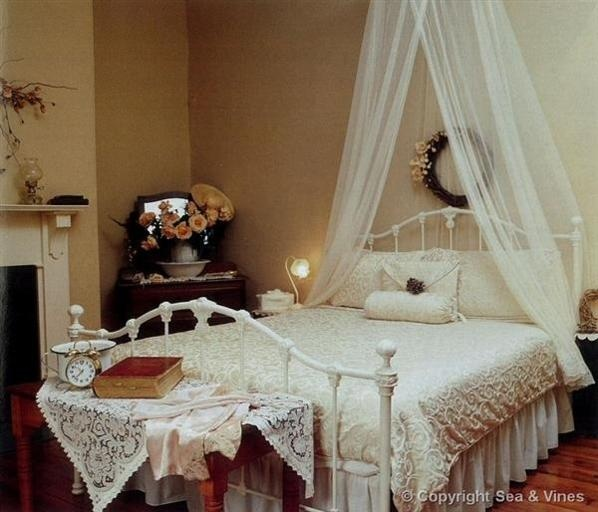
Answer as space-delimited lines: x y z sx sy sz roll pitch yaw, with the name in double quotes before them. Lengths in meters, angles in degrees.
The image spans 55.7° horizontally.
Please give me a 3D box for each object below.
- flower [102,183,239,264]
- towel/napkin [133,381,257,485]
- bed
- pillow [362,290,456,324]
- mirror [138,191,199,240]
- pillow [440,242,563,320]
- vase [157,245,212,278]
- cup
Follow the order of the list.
"flower" -1.015 -0.281 4.741 0.954 0.595 0.677 -2 -5 -21
"towel/napkin" -0.347 0.555 1.817 0.314 0.146 0.324 2 11 21
"bed" 0.249 0.419 3.027 1.598 1.423 2.129 -2 -3 34
"pillow" 0.688 0.287 3.488 0.439 0.170 0.216 2 23 33
"mirror" -1.087 -0.318 4.682 0.579 0.054 0.691 -2 38 -11
"pillow" 1.137 0.166 3.406 0.384 0.409 0.105 -2 -12 31
"vase" -0.947 0.052 4.743 0.285 0.216 0.296 0 -4 1
"cup" -0.883 0.417 2.320 0.187 0.151 0.205 0 -2 0
